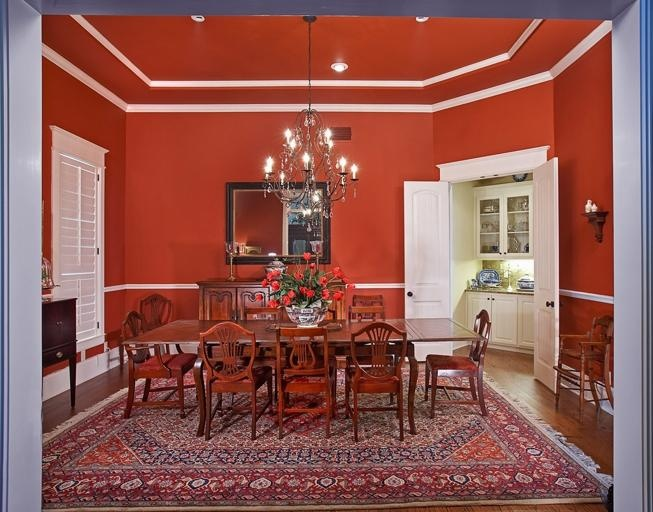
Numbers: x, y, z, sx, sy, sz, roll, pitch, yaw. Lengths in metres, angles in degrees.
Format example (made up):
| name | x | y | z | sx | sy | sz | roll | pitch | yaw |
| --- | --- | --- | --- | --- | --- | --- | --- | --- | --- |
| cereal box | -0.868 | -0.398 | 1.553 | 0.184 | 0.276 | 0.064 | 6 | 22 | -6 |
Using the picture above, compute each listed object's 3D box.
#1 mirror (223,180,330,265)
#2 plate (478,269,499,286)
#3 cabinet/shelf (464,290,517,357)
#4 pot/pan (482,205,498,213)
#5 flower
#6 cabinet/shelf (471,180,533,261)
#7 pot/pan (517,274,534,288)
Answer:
| name | x | y | z | sx | sy | sz | roll | pitch | yaw |
| --- | --- | --- | --- | --- | --- | --- | --- | --- | --- |
| mirror | -0.696 | -0.449 | 6.949 | 1.208 | 0.890 | 0.050 | 0 | -2 | -2 |
| plate | 2.669 | 0.337 | 8.131 | 0.354 | 0.232 | 0.215 | 3 | 10 | 18 |
| cabinet/shelf | 2.567 | 0.991 | 7.802 | 0.908 | 0.843 | 0.361 | 5 | -16 | 5 |
| pot/pan | 2.661 | -0.776 | 8.035 | 0.134 | 0.083 | 0.137 | -1 | 0 | 28 |
| flower | -0.194 | 0.300 | 4.955 | 0.839 | 0.472 | 0.718 | 2 | 8 | -2 |
| cabinet/shelf | 2.830 | -0.589 | 7.862 | 1.260 | 1.607 | 0.467 | -1 | -3 | 41 |
| pot/pan | 3.058 | 0.373 | 7.588 | 0.199 | 0.193 | 0.201 | 0 | -2 | 13 |
